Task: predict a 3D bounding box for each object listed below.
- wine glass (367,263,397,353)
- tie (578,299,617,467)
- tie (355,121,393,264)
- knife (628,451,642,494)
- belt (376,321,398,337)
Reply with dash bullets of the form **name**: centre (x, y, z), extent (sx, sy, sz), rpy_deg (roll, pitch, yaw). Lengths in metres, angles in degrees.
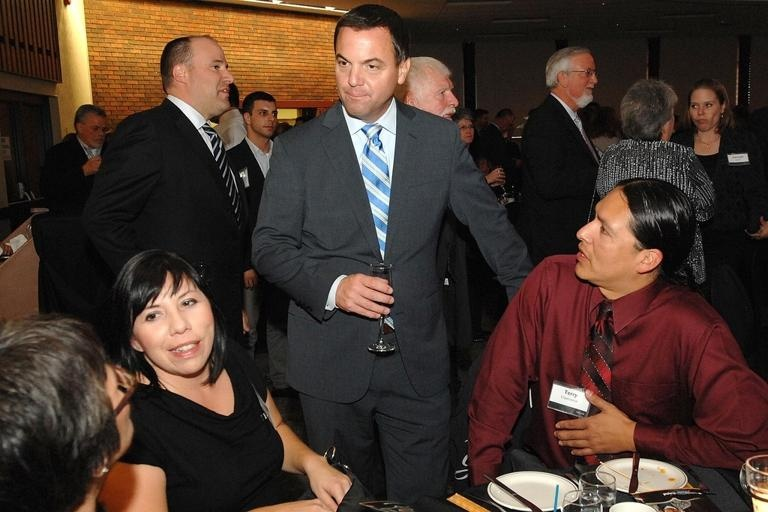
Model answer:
- **wine glass**: centre (-0.010, 0.218, 2.097), extent (0.116, 0.373, 0.073), rpy_deg (-2, 11, -3)
- **tie**: centre (0.834, 0.357, 2.057), extent (0.117, 0.351, 0.138), rpy_deg (6, 13, 34)
- **tie**: centre (-0.032, -0.255, 2.177), extent (0.115, 0.566, 0.086), rpy_deg (-2, -9, -5)
- **knife**: centre (0.785, 0.681, 1.674), extent (0.034, 0.020, 0.143), rpy_deg (25, 28, 15)
- **belt**: centre (0.012, 0.293, 2.134), extent (0.076, 0.070, 0.049), rpy_deg (-5, 19, -12)
